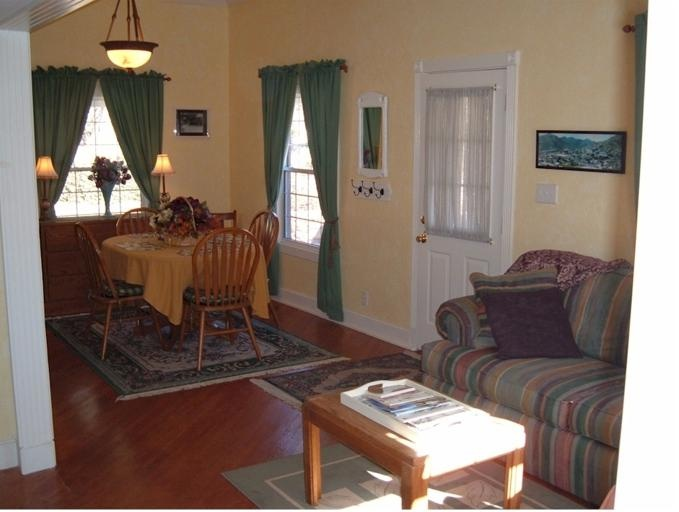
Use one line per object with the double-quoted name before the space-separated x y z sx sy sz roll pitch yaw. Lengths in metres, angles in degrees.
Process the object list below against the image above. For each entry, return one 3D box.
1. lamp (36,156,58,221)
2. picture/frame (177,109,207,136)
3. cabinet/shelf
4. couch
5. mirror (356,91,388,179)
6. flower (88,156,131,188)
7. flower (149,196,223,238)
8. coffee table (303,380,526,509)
"lamp" -3.500 -0.818 6.201 0.198 0.735 0.342 -6 12 -30
"picture/frame" -2.069 -1.850 7.155 0.369 0.314 0.029 -5 13 -33
"cabinet/shelf" -2.644 0.131 5.531 1.091 1.035 0.392 -6 9 -37
"couch" 1.096 0.704 2.959 0.687 0.714 1.277 1 7 -25
"mirror" 0.345 -1.264 5.413 0.089 0.850 0.426 -8 13 -38
"flower" -2.897 -1.051 6.543 0.467 0.342 0.428 -4 -18 -37
"flower" -1.538 -0.459 5.232 0.463 0.330 0.490 4 11 16
"coffee table" 0.376 0.573 2.457 0.680 0.598 0.919 -5 10 -33
